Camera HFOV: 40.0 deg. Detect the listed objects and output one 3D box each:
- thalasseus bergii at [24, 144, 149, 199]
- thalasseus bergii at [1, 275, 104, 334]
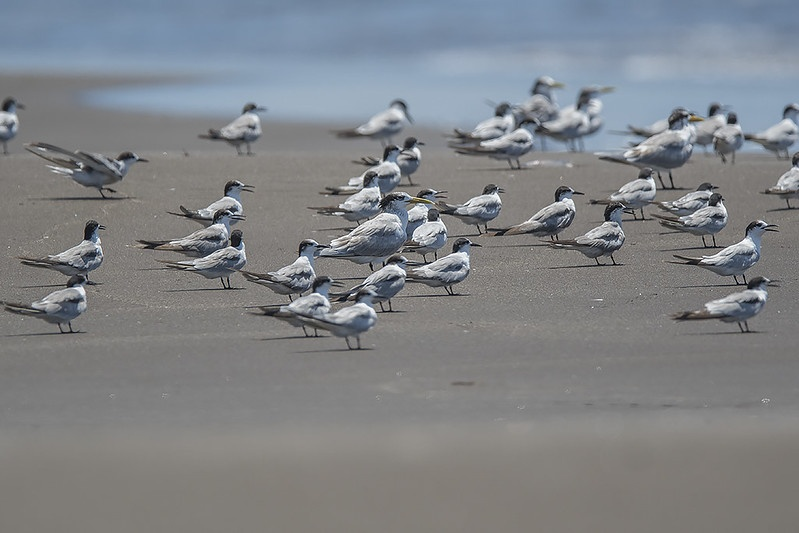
[{"bbox_3d":[-5.639,-1.671,19.548,1.560,0.969,2.940,-11,17,-21],"label":"thalasseus bergii"},{"bbox_3d":[-3.975,0.413,12.363,0.821,0.594,0.688,-1,10,-16],"label":"thalasseus bergii"}]
